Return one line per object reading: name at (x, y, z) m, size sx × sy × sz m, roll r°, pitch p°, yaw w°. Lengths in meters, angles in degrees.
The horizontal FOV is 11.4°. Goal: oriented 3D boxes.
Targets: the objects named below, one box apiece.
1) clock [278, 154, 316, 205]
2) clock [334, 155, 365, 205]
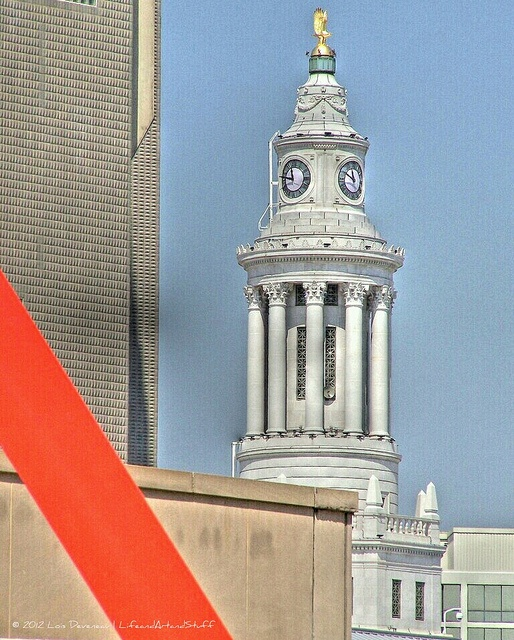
clock at (1.397, -5.886, 106.652) m, size 1.596 × 1.503 × 0.707 m, roll -14°, pitch -24°, yaw 41°
clock at (3.799, -5.827, 106.934) m, size 0.631 × 1.548 × 1.737 m, roll -8°, pitch -22°, yaw 32°
